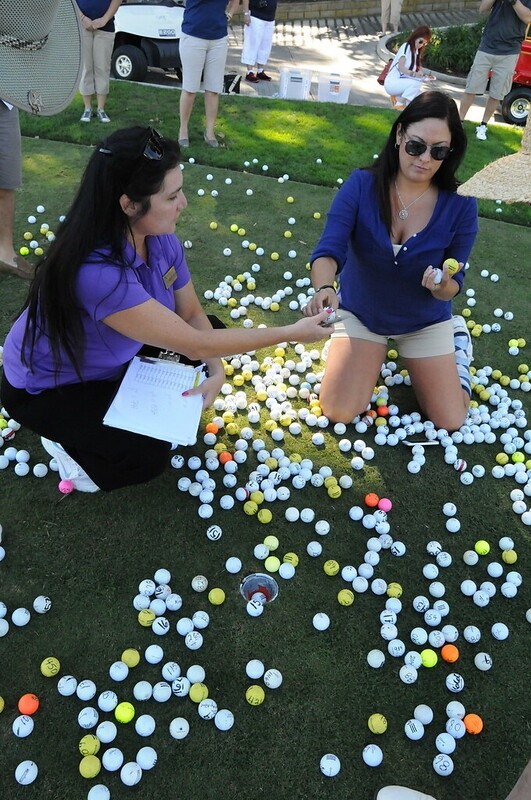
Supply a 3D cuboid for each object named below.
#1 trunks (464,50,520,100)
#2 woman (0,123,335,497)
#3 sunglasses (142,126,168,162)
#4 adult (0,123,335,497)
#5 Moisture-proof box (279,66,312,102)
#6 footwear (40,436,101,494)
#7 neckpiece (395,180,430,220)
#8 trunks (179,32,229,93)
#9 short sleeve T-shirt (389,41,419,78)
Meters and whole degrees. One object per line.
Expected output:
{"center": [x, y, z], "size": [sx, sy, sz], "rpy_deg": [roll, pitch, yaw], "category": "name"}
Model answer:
{"center": [2.421, -3.555, 6.395], "size": [0.451, 0.601, 0.231], "rpy_deg": [19, 63, 15], "category": "trunks"}
{"center": [-0.497, -0.282, 2.184], "size": [0.849, 1.350, 0.500], "rpy_deg": [-2, 37, -25], "category": "woman"}
{"center": [-0.329, -0.756, 1.783], "size": [0.029, 0.096, 0.097], "rpy_deg": [23, 24, -18], "category": "sunglasses"}
{"center": [-0.494, -0.284, 2.189], "size": [0.862, 1.350, 0.499], "rpy_deg": [-2, 37, -25], "category": "adult"}
{"center": [0.357, -3.964, 7.496], "size": [0.402, 0.356, 0.422], "rpy_deg": [11, 32, -5], "category": "Moisture-proof box"}
{"center": [-0.803, 0.283, 2.520], "size": [0.209, 0.259, 0.082], "rpy_deg": [18, 55, 39], "category": "footwear"}
{"center": [0.660, -0.922, 2.738], "size": [0.141, 0.157, 0.018], "rpy_deg": [24, 15, 6], "category": "neckpiece"}
{"center": [-0.566, -2.969, 5.200], "size": [0.414, 0.538, 0.308], "rpy_deg": [-19, 46, -23], "category": "trunks"}
{"center": [1.551, -3.787, 6.655], "size": [0.288, 0.334, 0.328], "rpy_deg": [19, 32, 7], "category": "short sleeve T-shirt"}
